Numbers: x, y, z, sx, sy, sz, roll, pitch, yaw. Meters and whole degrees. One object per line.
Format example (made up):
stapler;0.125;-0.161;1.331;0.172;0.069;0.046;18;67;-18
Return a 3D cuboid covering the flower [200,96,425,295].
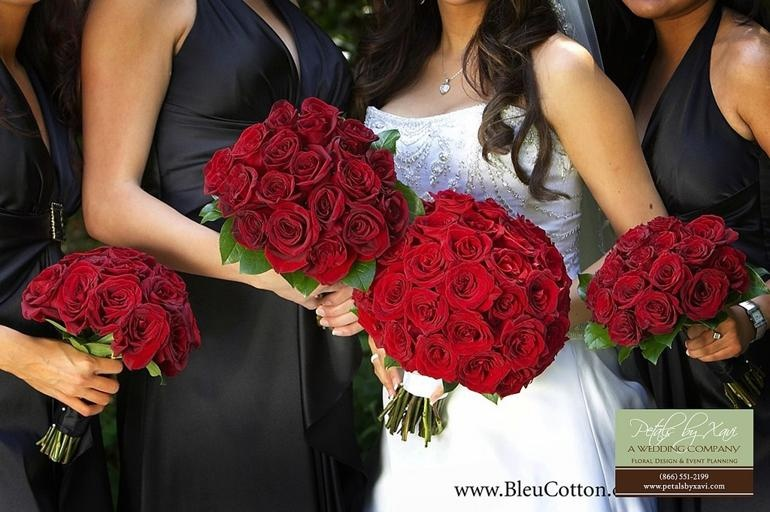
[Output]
flower;-0.267;-0.231;2.445;0.695;0.350;0.643;37;72;25

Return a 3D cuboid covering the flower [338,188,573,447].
flower;0.260;0.241;2.633;0.715;0.751;0.786;19;71;-14

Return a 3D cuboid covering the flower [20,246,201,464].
flower;-1.057;0.376;2.568;0.525;0.540;0.639;44;101;22
